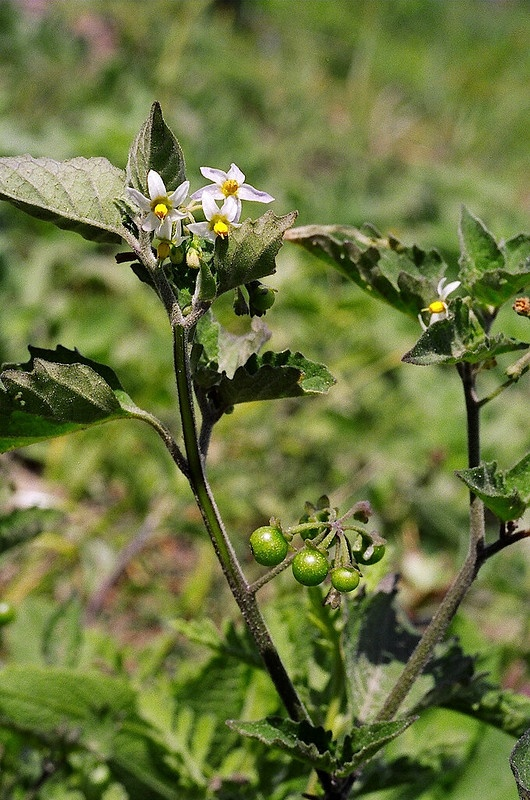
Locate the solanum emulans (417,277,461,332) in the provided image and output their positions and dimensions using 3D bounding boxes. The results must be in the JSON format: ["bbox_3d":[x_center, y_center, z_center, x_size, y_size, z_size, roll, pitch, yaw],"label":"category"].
[{"bbox_3d":[0.137,-0.079,0.758,0.047,0.020,0.048,-53,0,15],"label":"solanum emulans"}]
